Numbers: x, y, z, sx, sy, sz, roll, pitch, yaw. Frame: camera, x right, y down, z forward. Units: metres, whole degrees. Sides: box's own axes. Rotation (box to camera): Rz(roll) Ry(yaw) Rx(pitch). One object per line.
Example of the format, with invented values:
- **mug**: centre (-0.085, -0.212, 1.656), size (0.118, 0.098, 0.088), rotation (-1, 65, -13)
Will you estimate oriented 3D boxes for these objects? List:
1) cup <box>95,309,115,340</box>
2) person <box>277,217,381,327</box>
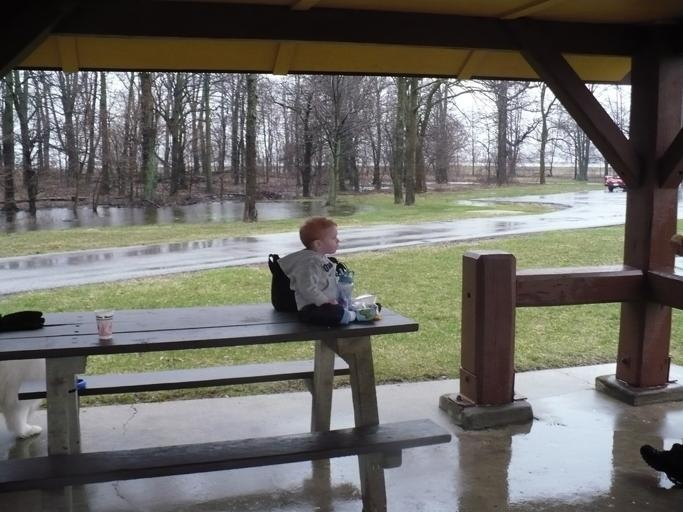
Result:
- **cup**: centre (-1.657, 0.490, 5.428), size (0.113, 0.204, 0.241), rotation (-5, 15, -19)
- **person**: centre (0.026, 0.106, 5.904), size (0.803, 0.767, 0.735), rotation (11, 12, 37)
